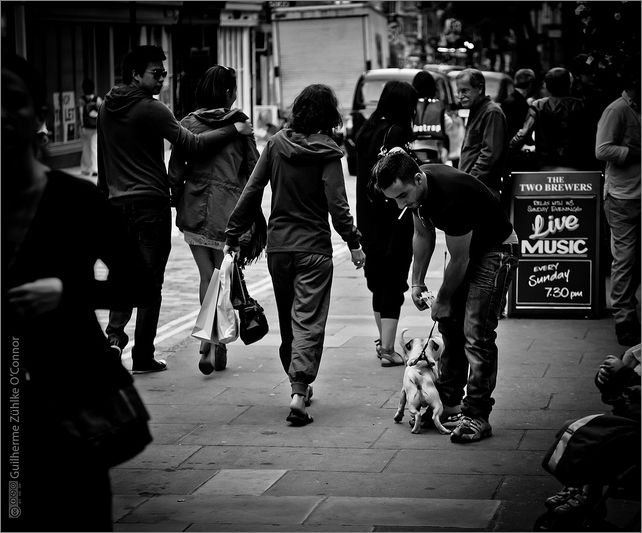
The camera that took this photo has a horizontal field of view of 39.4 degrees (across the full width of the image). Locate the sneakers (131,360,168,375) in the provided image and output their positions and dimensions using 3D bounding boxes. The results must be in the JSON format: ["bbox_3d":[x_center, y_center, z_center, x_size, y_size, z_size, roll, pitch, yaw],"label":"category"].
[{"bbox_3d":[-1.342,0.783,7.116,0.282,0.124,0.100,-3,9,-37],"label":"sneakers"}]

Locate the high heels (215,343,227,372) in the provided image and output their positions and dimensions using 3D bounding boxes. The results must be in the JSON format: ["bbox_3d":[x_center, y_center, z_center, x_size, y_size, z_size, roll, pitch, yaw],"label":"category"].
[{"bbox_3d":[-0.777,0.711,7.036,0.078,0.245,0.097,2,2,5],"label":"high heels"}]

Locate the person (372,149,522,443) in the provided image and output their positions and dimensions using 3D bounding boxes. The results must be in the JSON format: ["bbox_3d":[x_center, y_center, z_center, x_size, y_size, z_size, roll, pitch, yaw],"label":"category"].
[{"bbox_3d":[0.786,0.180,5.291,0.481,1.743,0.819,5,9,40],"label":"person"}]

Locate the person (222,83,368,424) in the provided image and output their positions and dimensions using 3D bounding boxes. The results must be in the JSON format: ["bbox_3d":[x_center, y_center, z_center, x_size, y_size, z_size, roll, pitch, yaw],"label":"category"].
[{"bbox_3d":[-0.125,-0.127,6.070,0.703,2.162,0.708,-7,10,-41],"label":"person"}]

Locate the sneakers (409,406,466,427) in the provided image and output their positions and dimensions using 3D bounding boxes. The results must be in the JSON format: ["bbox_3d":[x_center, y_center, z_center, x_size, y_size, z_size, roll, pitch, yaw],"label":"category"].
[{"bbox_3d":[0.761,0.937,5.721,0.370,0.175,0.132,1,4,-14],"label":"sneakers"}]

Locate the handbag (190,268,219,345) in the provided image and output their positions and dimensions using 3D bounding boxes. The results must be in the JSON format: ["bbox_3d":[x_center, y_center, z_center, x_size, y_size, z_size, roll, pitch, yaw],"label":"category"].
[{"bbox_3d":[-0.843,0.309,6.737,0.176,0.592,0.293,-7,9,-39],"label":"handbag"}]

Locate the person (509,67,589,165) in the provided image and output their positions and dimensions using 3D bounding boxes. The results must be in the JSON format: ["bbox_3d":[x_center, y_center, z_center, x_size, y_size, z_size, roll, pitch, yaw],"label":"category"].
[{"bbox_3d":[2.514,-1.592,9.666,0.743,1.076,0.525,1,8,17],"label":"person"}]

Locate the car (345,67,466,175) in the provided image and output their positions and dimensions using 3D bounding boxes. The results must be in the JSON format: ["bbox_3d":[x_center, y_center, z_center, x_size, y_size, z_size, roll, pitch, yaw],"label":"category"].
[{"bbox_3d":[2.163,-4.066,24.815,2.658,2.646,4.706,2,11,16],"label":"car"}]

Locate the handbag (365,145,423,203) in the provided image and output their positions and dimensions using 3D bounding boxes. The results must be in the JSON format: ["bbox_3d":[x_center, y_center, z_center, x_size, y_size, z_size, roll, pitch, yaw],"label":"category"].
[{"bbox_3d":[0.432,-0.536,5.048,0.265,0.248,0.160,0,8,7],"label":"handbag"}]

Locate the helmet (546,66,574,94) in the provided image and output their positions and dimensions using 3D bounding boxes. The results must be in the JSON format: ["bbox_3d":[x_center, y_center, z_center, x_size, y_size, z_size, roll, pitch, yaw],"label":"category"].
[{"bbox_3d":[2.580,-2.014,9.697,0.226,0.315,0.314,4,26,16],"label":"helmet"}]

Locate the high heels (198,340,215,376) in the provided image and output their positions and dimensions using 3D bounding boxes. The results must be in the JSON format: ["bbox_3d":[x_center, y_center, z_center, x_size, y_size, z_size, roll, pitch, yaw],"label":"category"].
[{"bbox_3d":[-0.882,0.705,6.908,0.093,0.328,0.126,-1,-4,11],"label":"high heels"}]

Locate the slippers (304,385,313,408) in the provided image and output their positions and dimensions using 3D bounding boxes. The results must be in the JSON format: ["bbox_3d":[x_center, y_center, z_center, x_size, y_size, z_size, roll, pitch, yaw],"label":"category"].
[{"bbox_3d":[-0.072,0.891,6.117,0.045,0.064,0.142,3,29,7],"label":"slippers"}]

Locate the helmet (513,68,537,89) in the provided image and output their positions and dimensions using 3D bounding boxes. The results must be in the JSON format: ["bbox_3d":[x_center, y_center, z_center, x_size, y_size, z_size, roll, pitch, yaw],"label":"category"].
[{"bbox_3d":[2.763,-2.534,12.097,0.190,0.165,0.311,3,14,23],"label":"helmet"}]

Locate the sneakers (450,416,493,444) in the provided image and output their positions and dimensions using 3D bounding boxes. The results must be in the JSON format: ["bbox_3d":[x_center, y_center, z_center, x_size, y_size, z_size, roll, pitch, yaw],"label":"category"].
[{"bbox_3d":[0.903,0.979,5.362,0.287,0.147,0.104,0,-6,-28],"label":"sneakers"}]

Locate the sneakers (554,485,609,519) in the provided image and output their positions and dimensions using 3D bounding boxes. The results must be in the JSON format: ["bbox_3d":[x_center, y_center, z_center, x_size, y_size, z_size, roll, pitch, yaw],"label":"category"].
[{"bbox_3d":[1.057,0.939,3.645,0.206,0.071,0.151,-1,9,-5],"label":"sneakers"}]

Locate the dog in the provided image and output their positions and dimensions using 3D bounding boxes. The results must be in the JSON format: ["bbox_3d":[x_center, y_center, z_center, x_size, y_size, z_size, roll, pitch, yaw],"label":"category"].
[{"bbox_3d":[0.658,0.676,5.702,0.289,0.611,0.816,-6,6,8],"label":"dog"}]

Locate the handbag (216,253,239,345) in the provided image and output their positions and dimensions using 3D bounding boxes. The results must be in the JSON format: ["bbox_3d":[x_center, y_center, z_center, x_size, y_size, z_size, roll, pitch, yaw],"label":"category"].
[{"bbox_3d":[-0.676,0.242,6.585,0.184,0.733,0.389,-3,24,-9],"label":"handbag"}]

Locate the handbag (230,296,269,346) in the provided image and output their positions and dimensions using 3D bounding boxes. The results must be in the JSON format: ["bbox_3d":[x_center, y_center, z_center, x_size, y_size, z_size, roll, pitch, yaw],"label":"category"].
[{"bbox_3d":[-0.481,0.323,6.539,0.308,0.115,0.314,-16,-18,-7],"label":"handbag"}]
